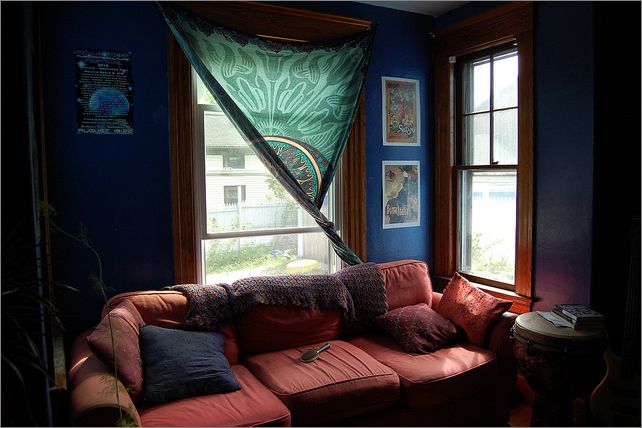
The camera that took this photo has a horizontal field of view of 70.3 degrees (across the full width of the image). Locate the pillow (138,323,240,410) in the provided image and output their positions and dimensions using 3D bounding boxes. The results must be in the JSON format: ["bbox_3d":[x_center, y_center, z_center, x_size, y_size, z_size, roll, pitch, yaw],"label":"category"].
[{"bbox_3d":[-0.872,0.973,2.951,0.485,0.165,0.520,9,34,-31],"label":"pillow"}]

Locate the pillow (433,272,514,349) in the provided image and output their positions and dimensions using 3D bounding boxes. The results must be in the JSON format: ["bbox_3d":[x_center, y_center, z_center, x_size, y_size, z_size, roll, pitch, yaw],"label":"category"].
[{"bbox_3d":[1.207,0.768,3.644,0.161,0.480,0.524,27,7,-44],"label":"pillow"}]

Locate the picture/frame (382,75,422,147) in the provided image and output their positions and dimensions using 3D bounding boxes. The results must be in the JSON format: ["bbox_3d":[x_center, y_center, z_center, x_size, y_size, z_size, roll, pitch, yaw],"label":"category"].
[{"bbox_3d":[0.756,-1.001,4.368,0.632,0.863,0.032,-5,8,-30],"label":"picture/frame"}]

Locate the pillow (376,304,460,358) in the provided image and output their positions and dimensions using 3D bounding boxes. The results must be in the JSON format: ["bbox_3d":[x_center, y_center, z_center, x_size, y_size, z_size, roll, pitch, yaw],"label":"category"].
[{"bbox_3d":[0.800,0.892,3.546,0.372,0.117,0.381,-8,17,-23],"label":"pillow"}]
